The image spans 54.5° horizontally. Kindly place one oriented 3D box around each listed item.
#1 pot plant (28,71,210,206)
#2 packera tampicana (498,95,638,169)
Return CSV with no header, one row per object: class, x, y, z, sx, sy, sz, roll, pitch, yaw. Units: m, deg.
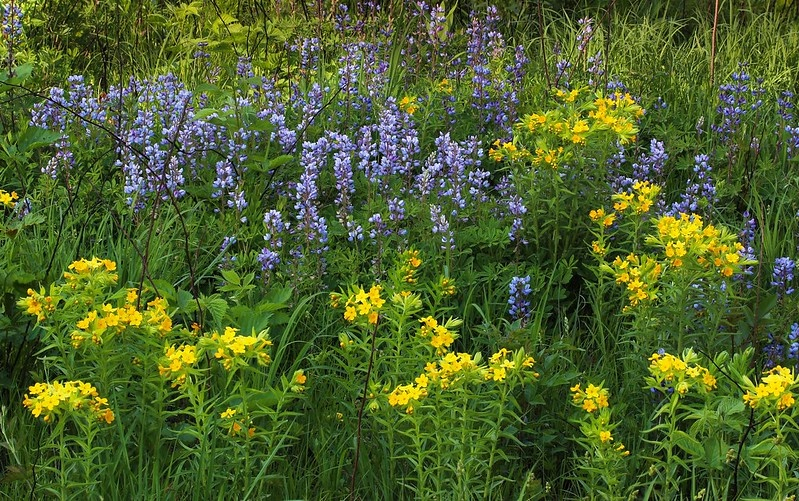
pot plant,-1.861,-0.787,5.322,1.058,0.930,1.579,-2,9,-43
packera tampicana,1.107,-0.791,5.063,0.928,0.536,0.745,8,7,32
